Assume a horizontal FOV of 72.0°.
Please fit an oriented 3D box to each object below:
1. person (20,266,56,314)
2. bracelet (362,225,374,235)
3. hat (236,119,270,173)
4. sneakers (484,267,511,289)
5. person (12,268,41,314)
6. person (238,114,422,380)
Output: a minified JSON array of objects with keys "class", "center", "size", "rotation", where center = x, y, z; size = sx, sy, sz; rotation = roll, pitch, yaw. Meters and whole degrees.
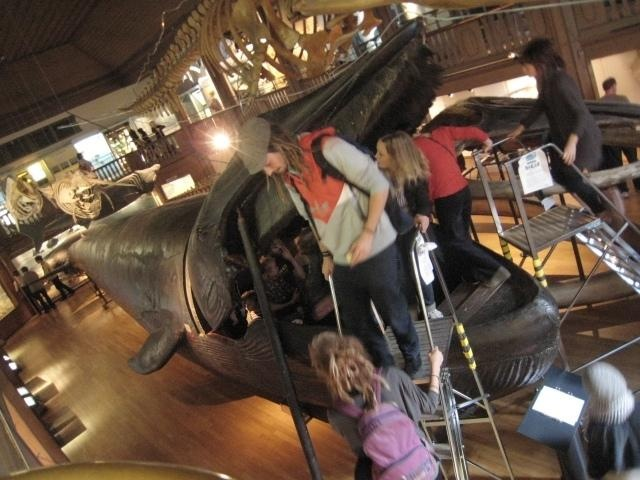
[{"class":"person","center":[-5.809,1.039,9.037],"size":[0.379,0.878,0.258],"rotation":[-3,26,45]},{"class":"bracelet","center":[0.203,-0.042,1.854],"size":[0.028,0.028,0.029],"rotation":[8,14,39]},{"class":"hat","center":[-0.290,-0.394,1.907],"size":[0.143,0.229,0.066],"rotation":[10,12,37]},{"class":"sneakers","center":[1.104,0.245,2.764],"size":[0.102,0.053,0.145],"rotation":[-37,-7,-36]},{"class":"person","center":[-6.151,1.069,9.167],"size":[0.489,0.958,0.195],"rotation":[-32,6,36]},{"class":"person","center":[0.116,0.061,2.058],"size":[0.534,1.405,0.497],"rotation":[-24,17,-4]}]
